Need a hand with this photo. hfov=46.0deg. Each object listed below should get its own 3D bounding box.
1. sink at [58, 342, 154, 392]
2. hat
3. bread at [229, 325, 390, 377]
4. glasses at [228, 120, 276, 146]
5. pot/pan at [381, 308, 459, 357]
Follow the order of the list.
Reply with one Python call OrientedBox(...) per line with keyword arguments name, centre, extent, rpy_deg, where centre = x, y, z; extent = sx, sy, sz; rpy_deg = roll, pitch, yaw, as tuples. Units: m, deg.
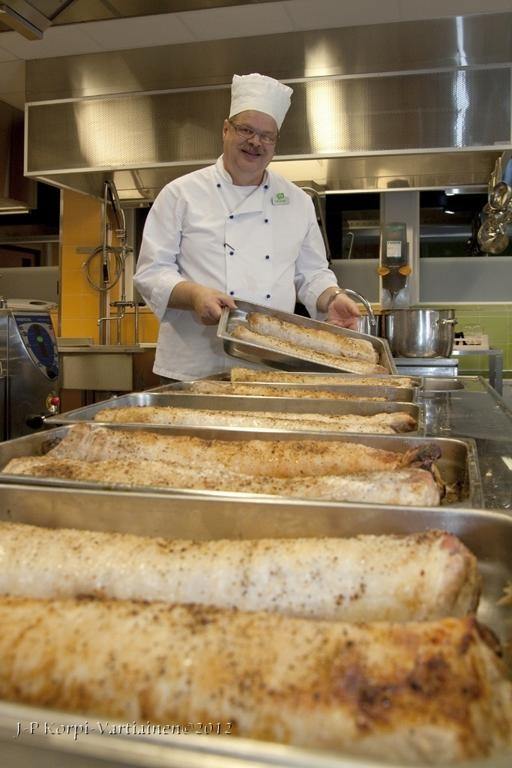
OrientedBox(name="sink", centre=(-0.939, -0.101, 3.769), extent=(0.402, 0.204, 0.400), rpy_deg=(1, 2, 2))
OrientedBox(name="hat", centre=(0.010, -0.883, 1.845), extent=(0.189, 0.148, 0.201), rpy_deg=(-9, 39, -2))
OrientedBox(name="bread", centre=(0.131, -0.073, 1.455), extent=(0.270, 0.037, 0.164), rpy_deg=(18, 18, 3))
OrientedBox(name="glasses", centre=(-0.014, -0.745, 1.774), extent=(0.146, 0.091, 0.125), rpy_deg=(0, 6, 1))
OrientedBox(name="pot/pan", centre=(0.760, -0.226, 2.763), extent=(0.319, 0.213, 0.304), rpy_deg=(0, 2, 10))
